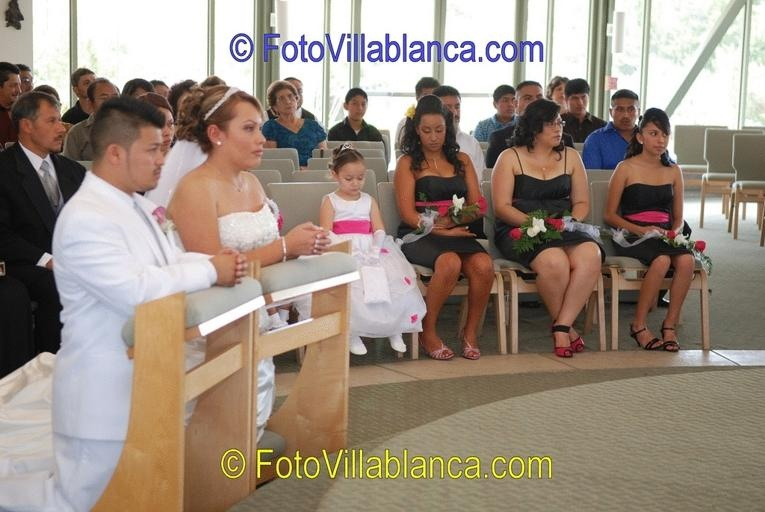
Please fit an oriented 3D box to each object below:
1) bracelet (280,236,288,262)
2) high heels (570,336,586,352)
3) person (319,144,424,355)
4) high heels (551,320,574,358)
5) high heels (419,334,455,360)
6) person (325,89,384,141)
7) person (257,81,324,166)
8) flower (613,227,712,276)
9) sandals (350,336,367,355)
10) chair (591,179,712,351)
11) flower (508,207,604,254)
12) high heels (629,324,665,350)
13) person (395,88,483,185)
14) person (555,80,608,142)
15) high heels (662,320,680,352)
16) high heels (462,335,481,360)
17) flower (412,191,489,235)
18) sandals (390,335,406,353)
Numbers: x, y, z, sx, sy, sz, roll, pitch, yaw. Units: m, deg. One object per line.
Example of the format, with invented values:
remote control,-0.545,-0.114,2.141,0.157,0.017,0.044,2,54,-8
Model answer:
bracelet,-0.394,-0.027,2.522,0.021,0.080,0.084,-1,-9,-11
high heels,1.331,0.615,4.376,0.136,0.100,0.097,-6,-2,25
person,-0.075,-0.007,4.214,0.614,1.424,0.654,-6,15,-12
high heels,1.198,0.565,4.239,0.125,0.195,0.178,-1,14,10
high heels,0.354,0.617,4.203,0.116,0.067,0.261,-4,14,-34
person,-0.367,-1.768,8.188,0.816,0.728,0.409,-1,9,-19
person,-0.987,-1.410,7.163,0.838,1.029,0.675,-14,16,-23
flower,2.059,0.050,4.588,0.463,0.145,0.441,7,14,-19
sandals,-0.168,0.584,4.169,0.078,0.082,0.213,-10,13,-18
chair,1.838,0.095,4.710,0.651,0.999,0.748,-9,5,9
flower,1.194,-0.172,4.386,0.619,0.282,0.314,-1,14,7
high heels,1.840,0.573,4.430,0.100,0.094,0.246,-14,18,-20
person,0.624,-1.068,6.081,0.785,1.086,0.546,-6,5,-9
person,2.243,-1.656,7.310,0.769,0.693,0.371,-4,6,2
high heels,2.001,0.537,4.399,0.111,0.079,0.308,-1,33,15
high heels,0.587,0.616,4.207,0.127,0.153,0.200,-2,14,7
flower,0.548,-0.286,4.475,0.220,0.272,0.390,11,6,-42
sandals,0.105,0.587,4.183,0.088,0.051,0.132,-13,42,-27
